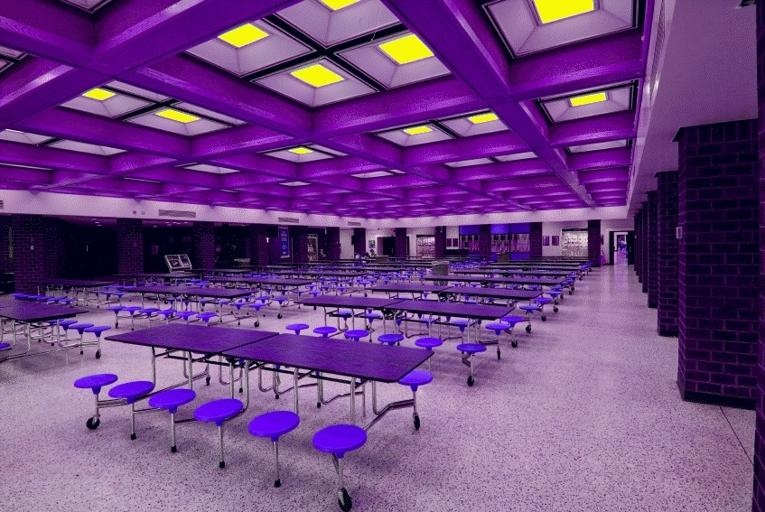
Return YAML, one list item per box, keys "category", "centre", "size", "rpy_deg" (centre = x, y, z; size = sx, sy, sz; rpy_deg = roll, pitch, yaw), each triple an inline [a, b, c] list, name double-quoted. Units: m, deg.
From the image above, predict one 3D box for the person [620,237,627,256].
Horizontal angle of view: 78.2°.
- category: "person"
  centre: [14.086, -0.500, 27.828]
  size: [0.262, 0.868, 0.652]
  rpy_deg: [-4, 0, 9]
